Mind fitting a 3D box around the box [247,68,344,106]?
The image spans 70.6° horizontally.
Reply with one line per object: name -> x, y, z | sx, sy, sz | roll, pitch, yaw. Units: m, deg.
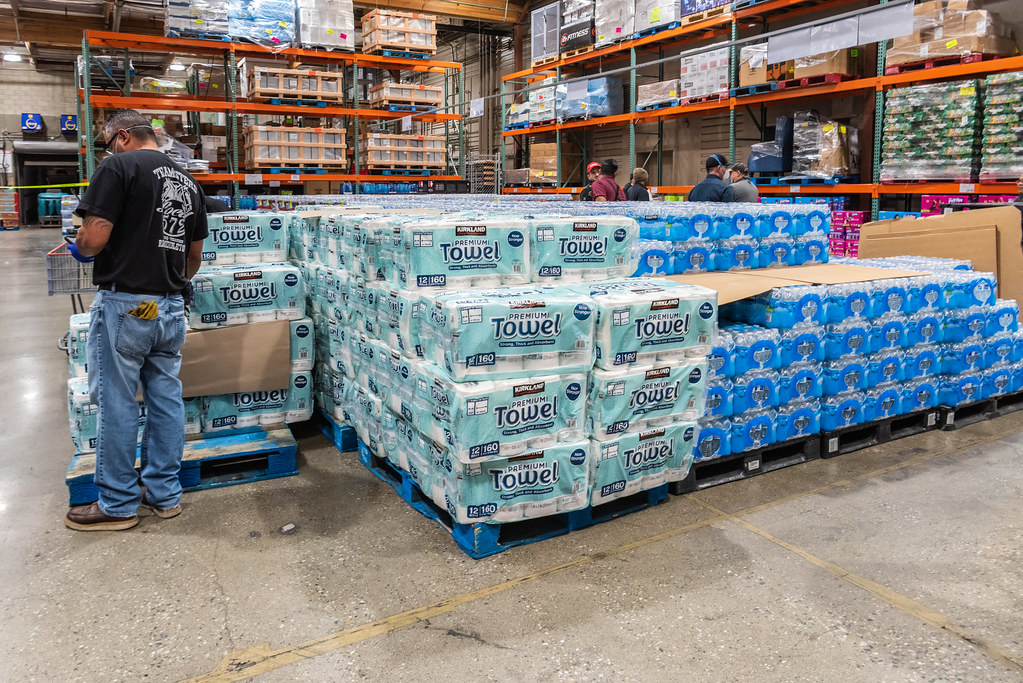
box -> -4.314, -5.117, 14.468 | 1.782, 0.664, 0.529 | -5, 15, -19

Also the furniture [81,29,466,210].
furniture -> -4.352, -4.283, 13.851 | 7.853, 3.761, 2.276 | -4, 17, -19

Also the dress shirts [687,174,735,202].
dress shirts -> 2.416, -1.854, 8.703 | 0.370, 0.295, 0.550 | -1, 14, -4

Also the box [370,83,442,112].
box -> -2.282, -5.343, 15.860 | 0.999, 0.353, 1.006 | -6, 13, -36

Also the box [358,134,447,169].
box -> -2.415, -4.182, 15.952 | 1.206, 0.465, 1.183 | -6, 13, -29

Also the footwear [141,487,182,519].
footwear -> -2.496, 1.145, 5.136 | 0.393, 0.135, 0.134 | 9, 11, 44

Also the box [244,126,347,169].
box -> -4.386, -3.915, 14.595 | 1.159, 0.667, 1.623 | -10, 17, -34

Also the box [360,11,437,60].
box -> -2.400, -6.658, 15.825 | 1.307, 0.721, 1.272 | -5, 10, -30

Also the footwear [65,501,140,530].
footwear -> -2.813, 1.191, 4.993 | 0.459, 0.159, 0.182 | 4, -2, -14

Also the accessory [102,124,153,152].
accessory -> -2.606, -1.388, 4.952 | 0.211, 0.118, 0.265 | -16, 22, -43

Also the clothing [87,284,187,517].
clothing -> -2.630, 0.399, 5.101 | 0.565, 1.545, 0.675 | -2, -2, 21

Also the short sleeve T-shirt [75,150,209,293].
short sleeve T-shirt -> -2.574, -0.822, 5.038 | 0.524, 0.949, 1.093 | 5, 0, 20
